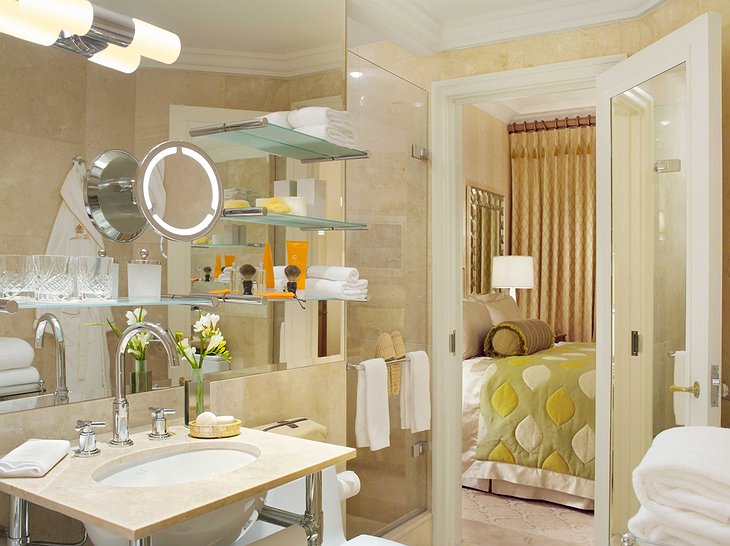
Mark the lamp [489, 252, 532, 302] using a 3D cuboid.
[{"bbox_3d":[1.449,-0.004,6.155,0.331,0.594,0.351,0,-4,3],"label":"lamp"}]

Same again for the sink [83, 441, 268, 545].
[{"bbox_3d":[-0.533,0.662,1.770,0.503,0.231,0.387,1,5,-38],"label":"sink"}]

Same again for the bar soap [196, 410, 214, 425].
[{"bbox_3d":[-0.535,0.485,2.046,0.042,0.027,0.043,4,29,-5],"label":"bar soap"}]

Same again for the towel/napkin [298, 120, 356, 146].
[{"bbox_3d":[-0.138,-0.537,2.380,0.116,0.041,0.117,-1,-7,36],"label":"towel/napkin"}]

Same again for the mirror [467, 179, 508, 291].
[{"bbox_3d":[1.219,-0.370,6.210,0.097,1.534,1.056,-2,-4,31],"label":"mirror"}]

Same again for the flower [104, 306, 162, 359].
[{"bbox_3d":[-0.815,0.199,2.133,0.141,0.179,0.153,-2,5,-40],"label":"flower"}]

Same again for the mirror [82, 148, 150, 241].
[{"bbox_3d":[-0.831,-0.251,2.035,0.055,0.266,0.248,3,14,32],"label":"mirror"}]

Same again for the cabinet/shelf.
[{"bbox_3d":[-0.349,-0.282,2.284,0.595,0.154,0.403,36,44,20],"label":"cabinet/shelf"}]

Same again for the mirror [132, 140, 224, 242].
[{"bbox_3d":[-0.665,-0.280,2.114,0.295,0.320,0.063,-5,6,-44],"label":"mirror"}]

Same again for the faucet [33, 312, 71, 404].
[{"bbox_3d":[-0.972,0.260,1.895,0.096,0.278,0.046,0,5,-34],"label":"faucet"}]

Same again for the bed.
[{"bbox_3d":[1.121,0.893,4.496,1.136,0.795,1.197,-2,-2,38],"label":"bed"}]

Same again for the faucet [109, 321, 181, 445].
[{"bbox_3d":[-0.703,0.338,1.930,0.176,0.392,0.379,1,4,-23],"label":"faucet"}]

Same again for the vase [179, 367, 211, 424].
[{"bbox_3d":[-0.599,0.451,2.194,0.081,0.208,0.068,3,-20,-29],"label":"vase"}]

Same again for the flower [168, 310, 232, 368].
[{"bbox_3d":[-0.589,0.241,2.256,0.179,0.201,0.163,-8,-6,24],"label":"flower"}]
